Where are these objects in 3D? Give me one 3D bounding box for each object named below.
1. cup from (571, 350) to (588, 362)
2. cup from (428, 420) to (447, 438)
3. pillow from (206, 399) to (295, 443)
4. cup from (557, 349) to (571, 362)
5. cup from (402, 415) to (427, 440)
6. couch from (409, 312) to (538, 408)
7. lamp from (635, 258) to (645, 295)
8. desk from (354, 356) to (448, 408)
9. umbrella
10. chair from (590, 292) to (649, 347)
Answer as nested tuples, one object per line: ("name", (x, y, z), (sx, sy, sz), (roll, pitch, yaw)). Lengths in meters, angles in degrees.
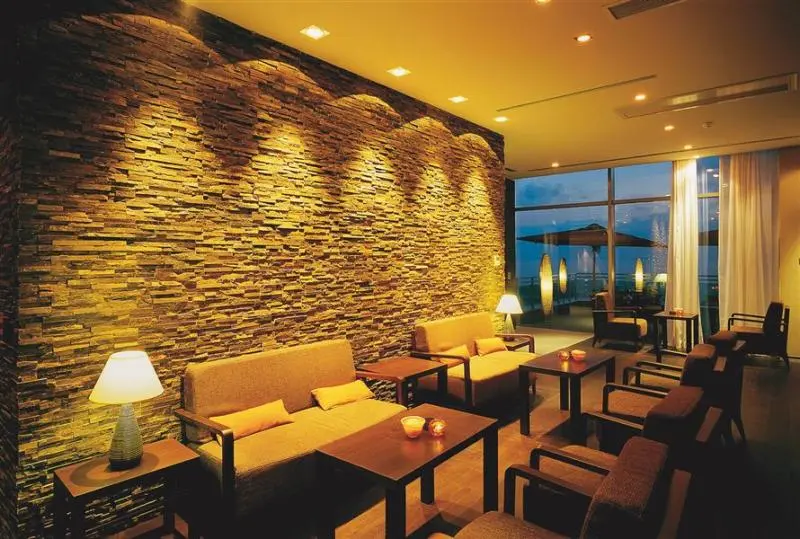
("cup", (2.075, 0.996, 5.842), (0.146, 0.082, 0.125), (-3, -1, 22))
("cup", (0.319, 1.315, 4.199), (0.143, 0.073, 0.134), (-1, 7, 0))
("pillow", (-1.333, 1.379, 4.640), (0.744, 0.161, 0.224), (-4, 2, -39))
("cup", (1.941, 1.022, 5.964), (0.107, 0.069, 0.138), (5, -1, 13))
("cup", (0.117, 1.321, 4.213), (0.181, 0.094, 0.177), (-1, -3, 0))
("couch", (0.865, 1.095, 6.602), (1.168, 1.128, 1.982), (-5, -4, 42))
("lamp", (4.832, 0.115, 10.244), (0.146, 0.694, 0.236), (-5, 3, -14))
("desk", (-0.018, 1.155, 5.697), (0.668, 0.564, 0.664), (3, 6, 40))
("umbrella", (4.432, -0.141, 11.307), (1.754, 0.967, 1.650), (-4, -8, 44))
("chair", (3.977, 0.968, 9.399), (1.310, 1.143, 0.891), (-2, -1, 34))
